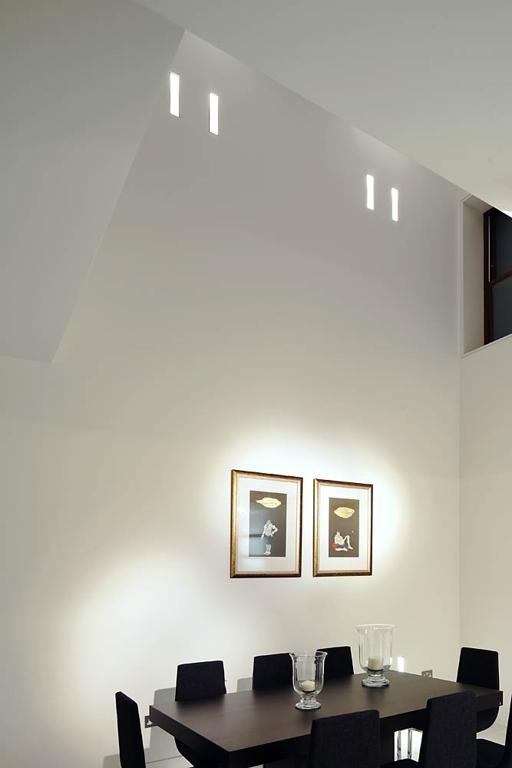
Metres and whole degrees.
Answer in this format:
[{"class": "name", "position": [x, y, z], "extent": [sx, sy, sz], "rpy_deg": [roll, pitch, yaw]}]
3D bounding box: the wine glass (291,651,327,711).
[{"class": "wine glass", "position": [0.285, 1.521, 3.512], "extent": [0.171, 0.242, 0.168], "rpy_deg": [12, -29, -35]}]

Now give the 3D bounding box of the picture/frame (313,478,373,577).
[{"class": "picture/frame", "position": [0.773, 1.248, 5.946], "extent": [0.620, 0.778, 0.023], "rpy_deg": [8, -11, -28]}]

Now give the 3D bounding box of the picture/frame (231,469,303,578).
[{"class": "picture/frame", "position": [0.077, 1.119, 5.406], "extent": [0.762, 0.979, 0.061], "rpy_deg": [8, -14, -35]}]

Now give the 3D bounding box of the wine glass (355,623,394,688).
[{"class": "wine glass", "position": [0.766, 1.642, 4.211], "extent": [0.229, 0.343, 0.244], "rpy_deg": [5, -18, 36]}]
